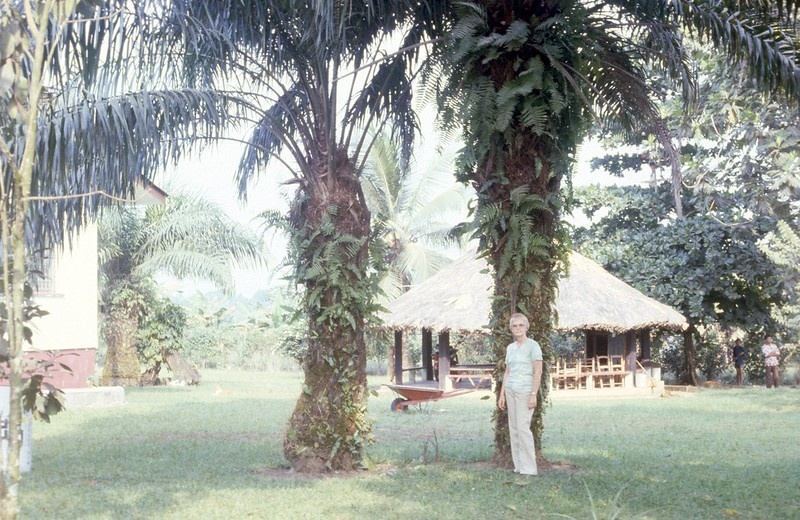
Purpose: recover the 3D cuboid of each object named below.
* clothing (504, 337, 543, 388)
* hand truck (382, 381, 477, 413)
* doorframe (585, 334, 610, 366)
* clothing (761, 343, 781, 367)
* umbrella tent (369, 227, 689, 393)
[{"bbox_3d":[1.894,1.573,11.625,0.631,0.764,0.386,-8,-14,43],"label":"clothing"},{"bbox_3d":[0.652,3.460,19.404,2.004,0.794,1.105,4,-5,26],"label":"hand truck"},{"bbox_3d":[7.268,3.278,27.813,0.080,1.280,1.047,-1,0,-31],"label":"doorframe"},{"bbox_3d":[13.394,3.398,27.525,0.444,0.835,0.967,-4,-8,29],"label":"clothing"},{"bbox_3d":[5.787,1.692,26.494,6.138,3.307,6.756,-3,5,-14],"label":"umbrella tent"}]
